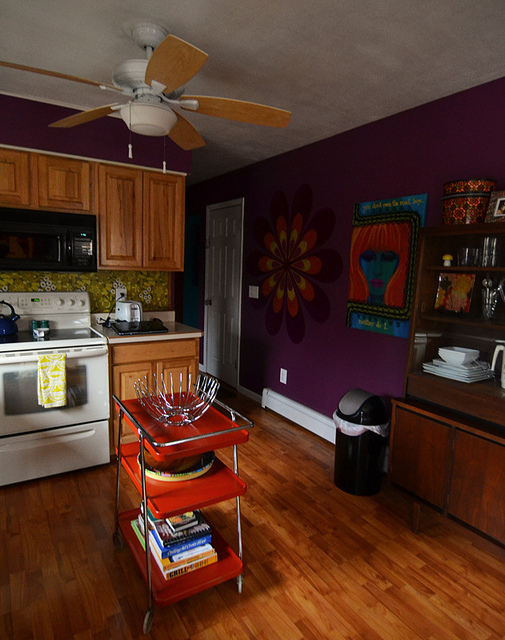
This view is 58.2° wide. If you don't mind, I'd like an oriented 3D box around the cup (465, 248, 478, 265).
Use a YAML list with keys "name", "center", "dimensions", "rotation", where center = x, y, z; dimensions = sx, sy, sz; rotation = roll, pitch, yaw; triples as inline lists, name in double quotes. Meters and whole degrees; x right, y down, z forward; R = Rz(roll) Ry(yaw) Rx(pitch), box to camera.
- name: "cup"
  center: [1.047, -0.302, 2.158]
  dimensions: [0.033, 0.096, 0.023]
  rotation: [11, 29, 25]

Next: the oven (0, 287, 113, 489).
- name: "oven"
  center: [-1.201, 0.378, 2.851]
  dimensions: [0.597, 1.081, 0.726]
  rotation: [-1, 9, -18]

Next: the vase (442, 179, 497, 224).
- name: "vase"
  center: [1.021, -0.539, 2.128]
  dimensions: [0.219, 0.206, 0.224]
  rotation: [3, 6, 26]

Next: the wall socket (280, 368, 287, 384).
- name: "wall socket"
  center: [0.271, 0.474, 3.887]
  dimensions: [0.015, 0.157, 0.128]
  rotation: [2, 4, -25]

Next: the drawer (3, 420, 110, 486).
- name: "drawer"
  center: [-1.173, 0.776, 2.660]
  dimensions: [0.418, 0.231, 0.298]
  rotation: [-2, 3, -42]

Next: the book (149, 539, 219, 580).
- name: "book"
  center: [-0.261, 0.908, 1.758]
  dimensions: [0.130, 0.034, 0.131]
  rotation: [-5, 13, -35]

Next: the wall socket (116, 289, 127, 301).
- name: "wall socket"
  center: [-0.967, -0.189, 3.366]
  dimensions: [0.087, 0.076, 0.080]
  rotation: [-4, 10, -34]

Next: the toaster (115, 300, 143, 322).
- name: "toaster"
  center: [-0.903, -0.064, 3.235]
  dimensions: [0.175, 0.222, 0.126]
  rotation: [3, 5, 24]

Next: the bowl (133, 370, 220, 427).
- name: "bowl"
  center: [-0.352, 0.347, 2.038]
  dimensions: [0.408, 0.204, 0.417]
  rotation: [5, 3, 0]

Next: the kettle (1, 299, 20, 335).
- name: "kettle"
  center: [-1.494, -0.014, 2.777]
  dimensions: [0.091, 0.188, 0.308]
  rotation: [-3, 10, -27]
